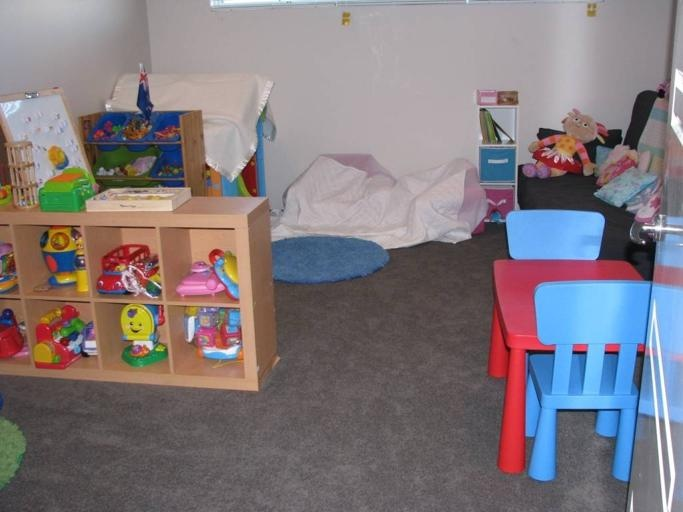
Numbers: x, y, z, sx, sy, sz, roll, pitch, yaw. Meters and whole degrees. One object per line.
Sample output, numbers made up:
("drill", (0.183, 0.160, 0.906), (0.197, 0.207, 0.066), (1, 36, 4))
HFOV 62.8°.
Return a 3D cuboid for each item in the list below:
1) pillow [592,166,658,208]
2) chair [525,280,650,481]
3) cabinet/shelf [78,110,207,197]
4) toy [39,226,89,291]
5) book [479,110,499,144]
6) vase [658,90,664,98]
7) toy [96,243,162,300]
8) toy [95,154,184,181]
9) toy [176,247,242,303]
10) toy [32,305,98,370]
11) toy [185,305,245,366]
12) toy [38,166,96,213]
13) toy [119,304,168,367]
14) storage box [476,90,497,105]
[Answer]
("pillow", (2.214, -0.552, 4.332), (0.338, 0.092, 0.325), (-41, 28, -13))
("chair", (0.994, 0.456, 2.299), (0.468, 0.938, 0.457), (7, 22, 17))
("cabinet/shelf", (-1.466, -0.755, 4.190), (0.791, 0.601, 0.302), (1, 25, 5))
("toy", (-1.519, -0.017, 3.077), (0.212, 0.332, 0.211), (0, 10, 7))
("book", (1.443, -1.299, 5.579), (0.093, 0.314, 0.235), (-8, 64, 8))
("vase", (2.768, -1.415, 4.856), (0.055, 0.042, 0.048), (13, 38, 30))
("toy", (-1.098, 0.064, 3.025), (0.342, 0.209, 0.321), (3, 22, 6))
("toy", (-1.560, -0.701, 4.409), (0.755, 0.139, 0.293), (4, 22, 8))
("toy", (-0.675, 0.104, 2.923), (0.302, 0.148, 0.243), (3, 41, 2))
("toy", (-1.559, 0.449, 3.176), (0.188, 0.256, 0.360), (3, 13, 2))
("toy", (-0.670, 0.429, 3.109), (0.352, 0.214, 0.451), (9, 25, -5))
("toy", (-1.421, -0.340, 2.944), (0.241, 0.176, 0.263), (1, 17, 9))
("toy", (-1.086, 0.413, 3.084), (0.236, 0.314, 0.273), (-2, 9, -8))
("storage box", (1.465, -1.592, 5.626), (0.159, 0.113, 0.159), (-1, 22, 1))
